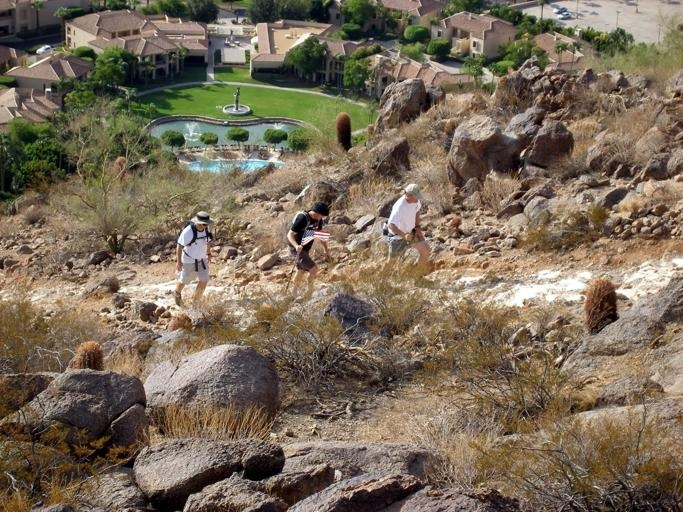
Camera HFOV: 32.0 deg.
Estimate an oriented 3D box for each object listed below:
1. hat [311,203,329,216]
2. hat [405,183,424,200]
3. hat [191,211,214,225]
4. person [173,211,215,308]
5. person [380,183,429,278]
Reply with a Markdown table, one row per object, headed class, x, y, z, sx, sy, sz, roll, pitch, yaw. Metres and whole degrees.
| class | x | y | z | sx | sy | sz | roll | pitch | yaw |
| --- | --- | --- | --- | --- | --- | --- | --- | --- | --- |
| hat | -0.485 | -1.191 | 29.845 | 0.263 | 0.400 | 0.349 | 7 | 15 | 33 |
| hat | 1.854 | -1.626 | 29.725 | 0.411 | 0.255 | 0.305 | 29 | 26 | -13 |
| hat | -3.568 | -0.958 | 30.366 | 0.352 | 0.168 | 0.362 | 19 | 21 | 35 |
| person | -3.818 | 0.059 | 30.608 | 1.058 | 2.355 | 1.059 | -4 | 26 | -8 |
| person | 1.671 | -0.523 | 30.084 | 1.024 | 3.000 | 1.114 | -8 | 37 | -10 |
